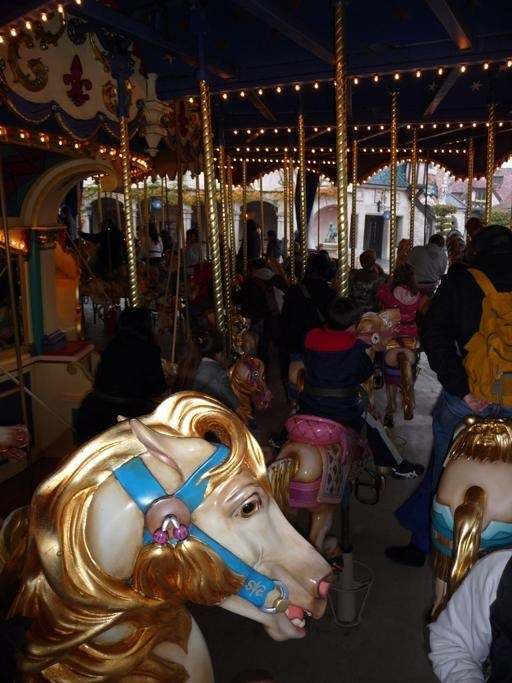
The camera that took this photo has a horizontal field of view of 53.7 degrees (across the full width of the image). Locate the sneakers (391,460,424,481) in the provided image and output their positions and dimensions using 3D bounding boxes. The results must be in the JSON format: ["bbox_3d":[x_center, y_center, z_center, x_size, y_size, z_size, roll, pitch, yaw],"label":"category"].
[{"bbox_3d":[0.826,0.726,2.832,0.200,0.107,0.083,-4,-15,10],"label":"sneakers"}]

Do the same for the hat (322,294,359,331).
[{"bbox_3d":[0.410,-0.140,2.470,0.133,0.157,0.169,1,20,6],"label":"hat"}]
